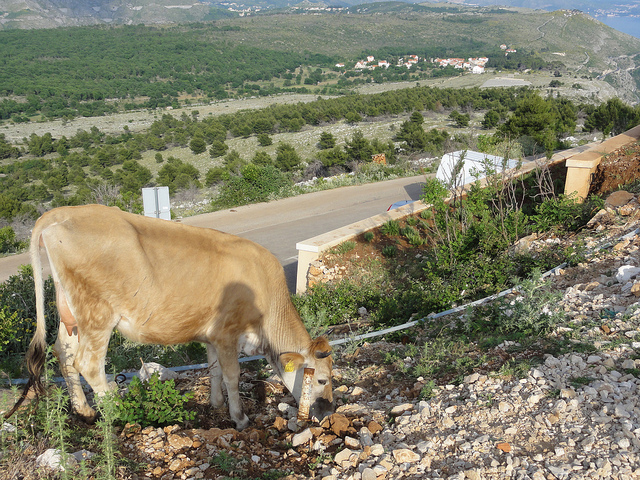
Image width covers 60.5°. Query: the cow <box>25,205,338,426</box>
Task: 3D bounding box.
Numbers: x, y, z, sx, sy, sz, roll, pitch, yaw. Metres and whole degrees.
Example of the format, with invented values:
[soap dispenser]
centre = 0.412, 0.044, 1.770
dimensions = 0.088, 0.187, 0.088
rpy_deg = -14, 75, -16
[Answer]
[cow]
centre = -1.815, 1.016, 7.045
dimensions = 3.597, 2.964, 1.117
rpy_deg = -3, 24, -2
